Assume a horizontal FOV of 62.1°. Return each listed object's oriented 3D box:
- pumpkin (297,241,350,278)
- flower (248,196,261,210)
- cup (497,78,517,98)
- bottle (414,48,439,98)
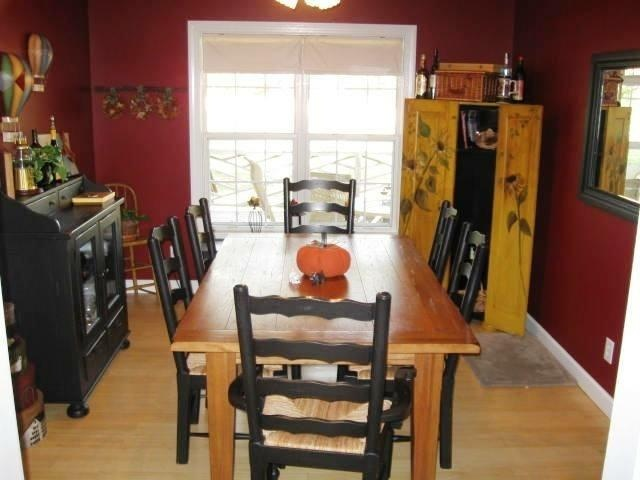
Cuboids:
[{"bbox_3d":[0.024,0.115,2.964,0.209,0.216,0.220,0,8,-9],"label":"pumpkin"},{"bbox_3d":[-0.636,-0.367,5.167,0.118,0.131,0.124,-1,-2,-7],"label":"flower"},{"bbox_3d":[1.586,-1.282,4.508,0.208,0.180,0.106,-11,16,-35],"label":"cup"},{"bbox_3d":[0.959,-1.485,4.800,0.197,0.426,0.499,1,13,9],"label":"bottle"}]
